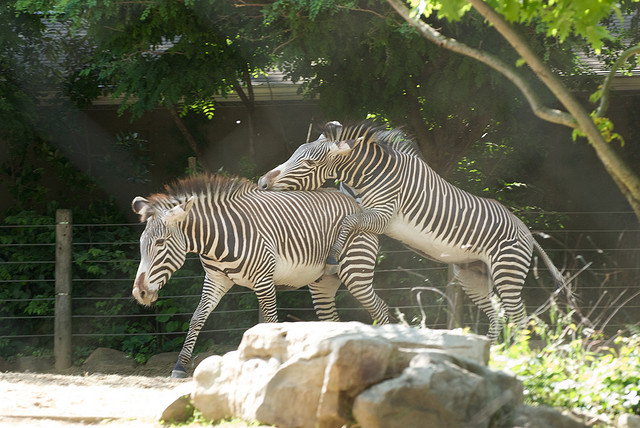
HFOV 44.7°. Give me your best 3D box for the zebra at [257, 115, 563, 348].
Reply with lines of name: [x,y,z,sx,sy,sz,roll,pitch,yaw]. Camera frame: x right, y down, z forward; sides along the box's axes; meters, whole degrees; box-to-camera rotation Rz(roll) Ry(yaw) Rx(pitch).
zebra: [1.219,0.141,10.021,4.088,2.187,0.960,17,0,-9]

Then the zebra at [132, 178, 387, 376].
zebra: [-0.946,0.578,9.590,2.623,1.988,1.126,-11,33,-14]
